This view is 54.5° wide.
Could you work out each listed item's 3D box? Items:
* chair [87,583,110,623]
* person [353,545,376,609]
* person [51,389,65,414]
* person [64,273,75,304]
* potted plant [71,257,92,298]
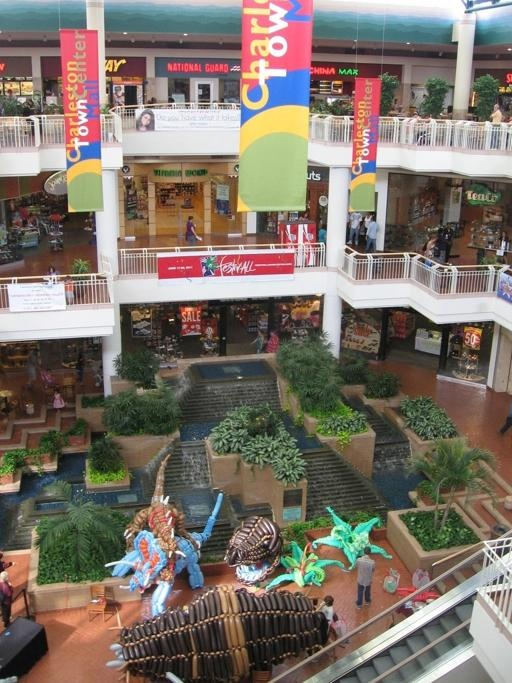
[{"bbox_3d":[-3.234,5.279,10.199,0.428,0.656,0.558,-6,15,-17],"label":"chair"},{"bbox_3d":[2.303,4.876,10.550,0.333,1.654,0.959,2,15,12],"label":"person"},{"bbox_3d":[-7.444,2.187,18.773,0.457,0.766,1.206,-7,15,-21],"label":"person"},{"bbox_3d":[-5.967,-1.592,16.023,0.288,0.739,0.586,-6,15,-18],"label":"person"},{"bbox_3d":[-5.819,-2.083,16.659,0.535,1.121,1.227,-6,15,-16],"label":"potted plant"}]
